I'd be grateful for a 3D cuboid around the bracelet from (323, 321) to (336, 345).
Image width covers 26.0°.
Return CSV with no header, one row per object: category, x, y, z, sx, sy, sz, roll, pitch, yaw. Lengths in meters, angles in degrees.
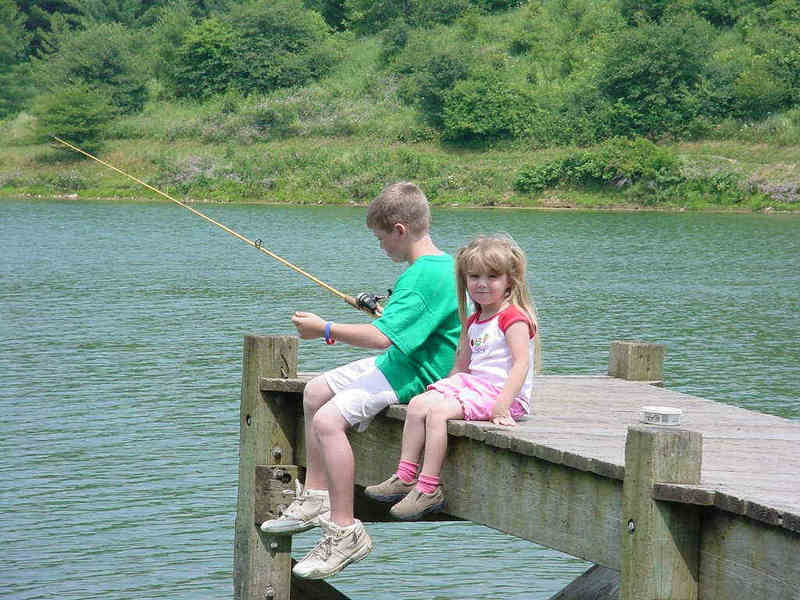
bracelet,-1.171,0.541,29.266,0.175,0.382,0.351,-2,7,3
